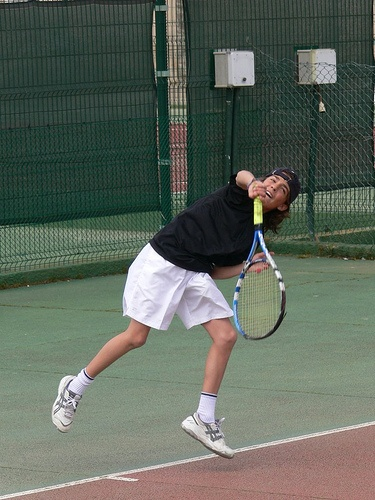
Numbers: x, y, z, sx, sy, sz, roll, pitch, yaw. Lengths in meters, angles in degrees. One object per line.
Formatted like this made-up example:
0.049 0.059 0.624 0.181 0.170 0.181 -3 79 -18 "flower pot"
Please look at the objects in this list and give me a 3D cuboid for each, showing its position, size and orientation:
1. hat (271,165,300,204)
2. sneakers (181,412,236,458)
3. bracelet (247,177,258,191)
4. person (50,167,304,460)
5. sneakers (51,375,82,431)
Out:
0.455 -0.290 2.745 0.119 0.163 0.202 0 1 37 "hat"
0.082 0.790 2.527 0.209 0.198 0.140 -1 1 -1 "sneakers"
0.273 -0.286 2.610 0.014 0.047 0.036 45 0 35 "bracelet"
-0.072 0.200 2.666 1.021 1.332 0.665 5 -13 15 "person"
-0.552 0.733 2.907 0.104 0.138 0.296 33 30 -31 "sneakers"
